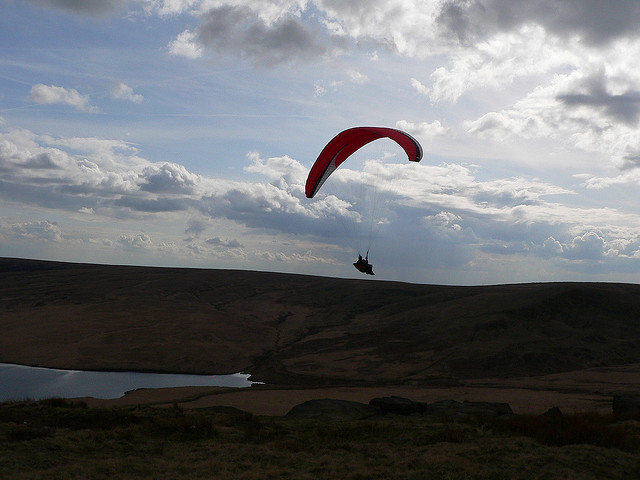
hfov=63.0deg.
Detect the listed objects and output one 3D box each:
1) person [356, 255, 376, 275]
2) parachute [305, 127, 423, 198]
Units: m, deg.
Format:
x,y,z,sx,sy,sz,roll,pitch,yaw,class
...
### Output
x,y,z,sx,sy,sz,roll,pitch,yaw,class
2.568,1.427,29.063,0.731,0.876,1.321,1,2,-4,person
2.406,-5.143,32.086,7.355,1.931,2.998,-19,-16,21,parachute
